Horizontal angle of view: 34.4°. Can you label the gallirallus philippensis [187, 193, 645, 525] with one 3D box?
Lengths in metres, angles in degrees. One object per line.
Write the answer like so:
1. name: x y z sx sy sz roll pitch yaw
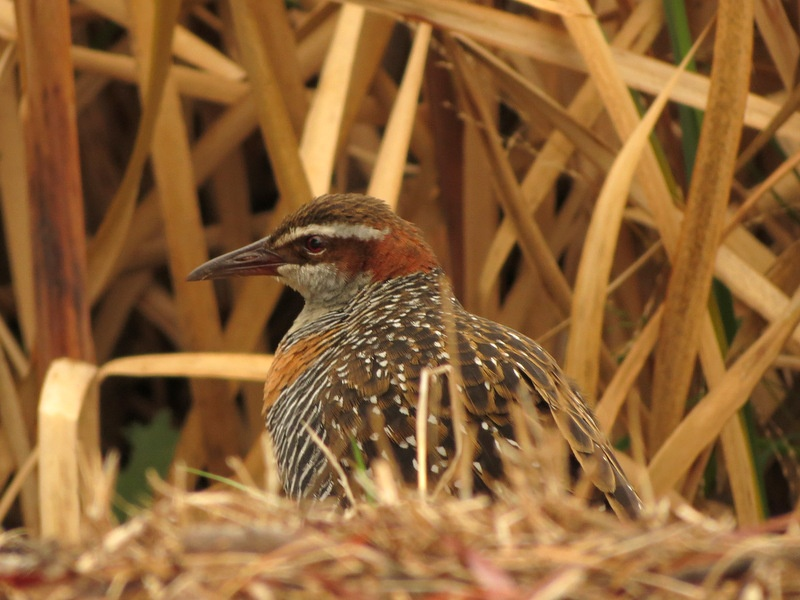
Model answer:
1. gallirallus philippensis: 0.091 0.226 3.014 1.002 0.852 0.592 0 0 15
